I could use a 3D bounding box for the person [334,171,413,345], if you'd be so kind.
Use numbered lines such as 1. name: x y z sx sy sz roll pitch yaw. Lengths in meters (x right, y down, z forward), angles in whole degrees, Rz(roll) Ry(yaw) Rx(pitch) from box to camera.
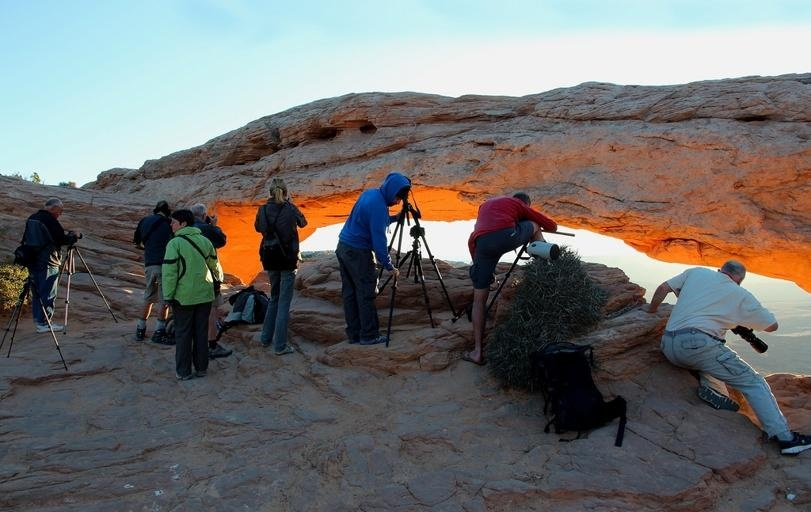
1. person: -0.585 0.068 8.126 1.204 2.948 0.570 -2 3 6

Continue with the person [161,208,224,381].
1. person: -3.510 0.791 7.891 0.808 2.536 0.425 -4 3 -16

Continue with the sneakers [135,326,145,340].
1. sneakers: -5.055 1.471 9.122 0.162 0.275 0.225 -4 3 -27

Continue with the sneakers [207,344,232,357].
1. sneakers: -3.364 1.753 8.808 0.550 0.169 0.167 1 3 -19

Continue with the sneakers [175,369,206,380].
1. sneakers: -3.586 1.998 8.009 0.482 0.134 0.144 -2 -2 -9

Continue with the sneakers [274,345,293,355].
1. sneakers: -2.216 1.704 8.666 0.378 0.117 0.125 -6 18 -14

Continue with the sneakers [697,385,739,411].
1. sneakers: 4.506 2.050 6.778 0.712 0.208 0.229 12 17 17

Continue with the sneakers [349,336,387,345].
1. sneakers: -0.650 1.452 8.409 0.701 0.198 0.202 -3 1 -7

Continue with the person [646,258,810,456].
1. person: 4.519 1.382 6.829 1.756 2.412 0.893 -1 4 31

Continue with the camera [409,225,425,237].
1. camera: 0.189 -0.434 8.402 0.308 0.198 0.215 -9 -14 31

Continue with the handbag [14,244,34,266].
1. handbag: -7.359 -0.021 9.186 0.303 0.419 0.279 0 3 34
